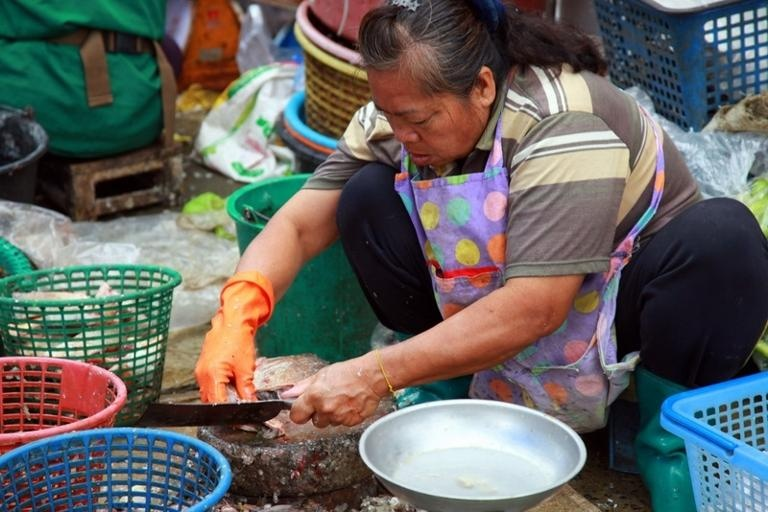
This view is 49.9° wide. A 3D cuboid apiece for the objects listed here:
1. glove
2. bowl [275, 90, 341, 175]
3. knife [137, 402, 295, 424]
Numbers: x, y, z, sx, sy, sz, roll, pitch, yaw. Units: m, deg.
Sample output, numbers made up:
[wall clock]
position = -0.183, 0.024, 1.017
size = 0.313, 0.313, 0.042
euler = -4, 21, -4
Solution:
[glove]
position = -0.522, 0.283, 2.900
size = 0.249, 0.527, 0.128
euler = 8, 22, -12
[bowl]
position = -0.403, -0.656, 4.693
size = 0.431, 0.522, 0.353
euler = 10, 31, 24
[knife]
position = -0.545, 0.511, 2.692
size = 0.445, 0.126, 0.022
euler = 1, 49, -6
